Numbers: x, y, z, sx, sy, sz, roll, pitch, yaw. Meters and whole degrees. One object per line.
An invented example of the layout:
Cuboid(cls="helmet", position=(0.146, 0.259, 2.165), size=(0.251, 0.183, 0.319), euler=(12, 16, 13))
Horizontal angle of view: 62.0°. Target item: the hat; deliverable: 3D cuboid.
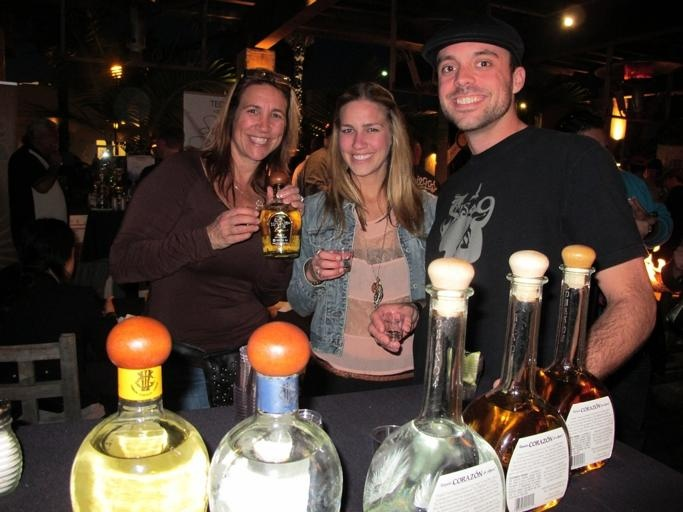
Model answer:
Cuboid(cls="hat", position=(0.558, -0.921, 2.379), size=(0.292, 0.102, 0.262), euler=(6, 12, 2))

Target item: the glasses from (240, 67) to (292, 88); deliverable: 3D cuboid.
Cuboid(cls="glasses", position=(-0.429, -0.982, 3.053), size=(0.160, 0.041, 0.154), euler=(4, -11, -34))
